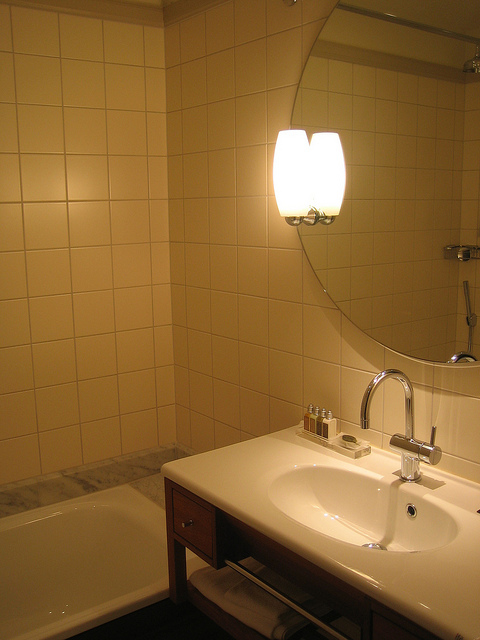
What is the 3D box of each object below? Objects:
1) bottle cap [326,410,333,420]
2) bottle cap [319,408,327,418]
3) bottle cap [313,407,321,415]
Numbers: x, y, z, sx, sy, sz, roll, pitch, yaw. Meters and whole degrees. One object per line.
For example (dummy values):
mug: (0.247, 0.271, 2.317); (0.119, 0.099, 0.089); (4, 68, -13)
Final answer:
bottle cap: (0.262, 0.280, 1.453); (0.017, 0.029, 0.021); (-1, 6, -10)
bottle cap: (0.246, 0.276, 1.468); (0.013, 0.022, 0.016); (0, -4, -1)
bottle cap: (0.227, 0.270, 1.472); (0.013, 0.021, 0.015); (0, -1, 27)
